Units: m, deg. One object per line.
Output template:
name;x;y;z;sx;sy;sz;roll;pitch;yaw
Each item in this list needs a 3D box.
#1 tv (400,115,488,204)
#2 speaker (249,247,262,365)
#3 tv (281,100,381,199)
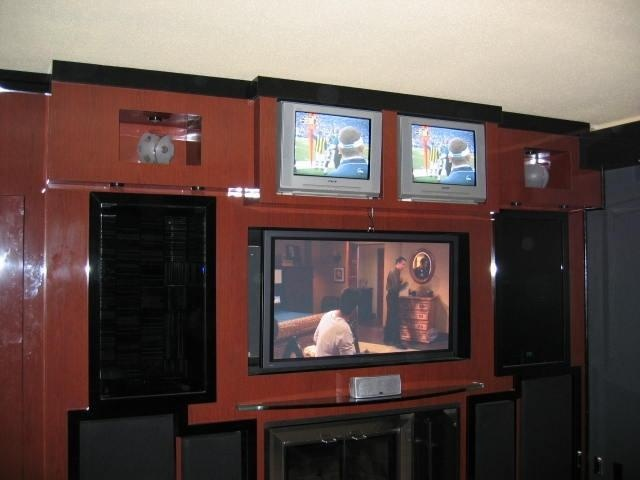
tv;0.836;-0.529;4.386;0.645;0.614;0.359;3;-10;-16
speaker;-0.454;0.454;3.999;0.107;0.605;0.045;-2;-6;11
tv;-0.004;-0.520;4.227;0.929;0.864;0.502;0;6;-13
